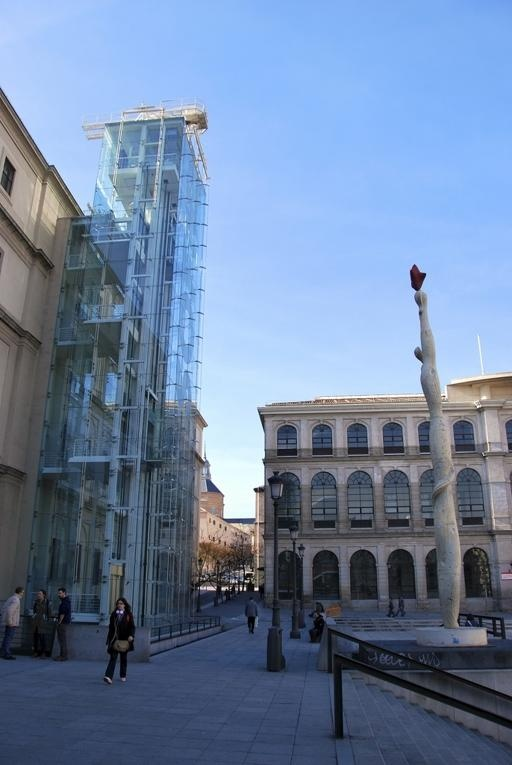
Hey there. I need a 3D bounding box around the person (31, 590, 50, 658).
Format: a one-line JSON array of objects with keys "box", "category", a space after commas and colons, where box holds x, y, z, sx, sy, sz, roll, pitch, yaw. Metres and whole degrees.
[{"box": [-5.708, 6.439, 14.048, 0.464, 1.636, 0.866, 7, -19, -22], "category": "person"}]

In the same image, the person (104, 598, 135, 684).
[{"box": [-2.533, 4.829, 9.823, 0.457, 1.455, 1.288, 4, -18, -13], "category": "person"}]

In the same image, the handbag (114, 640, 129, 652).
[{"box": [-2.373, 4.652, 9.265, 0.192, 0.196, 0.095, 0, -13, 0], "category": "handbag"}]
